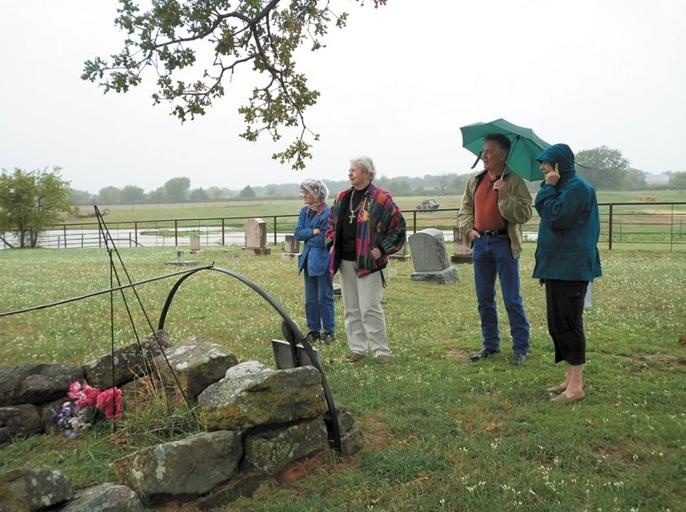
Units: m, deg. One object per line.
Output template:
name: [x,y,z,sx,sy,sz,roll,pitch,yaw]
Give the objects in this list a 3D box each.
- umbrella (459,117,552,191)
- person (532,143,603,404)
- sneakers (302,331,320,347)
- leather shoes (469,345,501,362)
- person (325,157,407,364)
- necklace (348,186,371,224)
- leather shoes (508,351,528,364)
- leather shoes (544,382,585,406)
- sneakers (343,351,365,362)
umbrella: [2.042,-1.352,6.559,1.124,0.788,0.511,7,14,38]
person: [2.374,0.161,5.494,0.670,2.675,0.721,3,12,27]
sneakers: [-0.445,1.209,7.732,0.222,0.119,0.522,-3,12,-5]
leather shoes: [1.877,1.282,6.778,0.411,0.178,0.155,-1,1,-21]
person: [0.298,0.042,6.797,1.012,2.652,0.639,0,10,8]
necklace: [0.200,-0.685,6.855,0.233,0.466,0.108,2,-5,36]
leather shoes: [2.191,1.280,6.398,0.197,0.129,0.204,1,12,15]
leather shoes: [2.425,1.477,5.496,0.506,0.245,0.163,1,-4,20]
sneakers: [0.134,1.360,6.870,0.263,0.119,0.100,10,-27,-24]
